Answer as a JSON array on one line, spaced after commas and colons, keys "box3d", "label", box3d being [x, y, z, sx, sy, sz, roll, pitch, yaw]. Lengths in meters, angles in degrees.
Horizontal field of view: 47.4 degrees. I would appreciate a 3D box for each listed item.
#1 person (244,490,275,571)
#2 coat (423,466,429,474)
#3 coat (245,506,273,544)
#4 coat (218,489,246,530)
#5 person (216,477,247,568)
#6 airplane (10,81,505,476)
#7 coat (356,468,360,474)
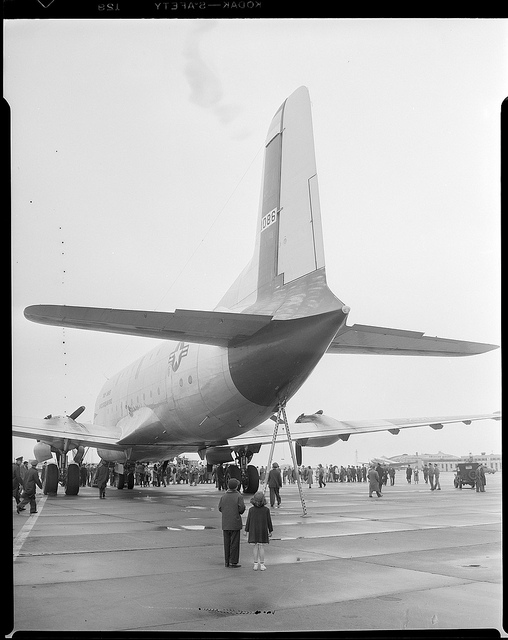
[{"box3d": [0.048, 2.446, 6.812, 0.314, 0.842, 0.776, 2, -10, 1], "label": "person"}, {"box3d": [8.206, 7.158, 27.736, 0.078, 0.354, 0.358, 4, -11, -15], "label": "coat"}, {"box3d": [0.049, 2.365, 6.697, 0.284, 0.420, 0.255, 2, -10, 2], "label": "coat"}, {"box3d": [-0.269, 2.215, 6.777, 0.273, 0.440, 0.352, 3, -10, -4], "label": "coat"}, {"box3d": [-0.280, 2.452, 7.090, 0.327, 0.995, 1.049, 2, -11, -2], "label": "person"}, {"box3d": [-1.148, -0.412, 14.329, 7.834, 7.756, 10.630, 7, -12, -24], "label": "airplane"}, {"box3d": [6.943, 10.076, 38.697, 0.077, 0.342, 0.324, 3, -13, -6], "label": "coat"}]
